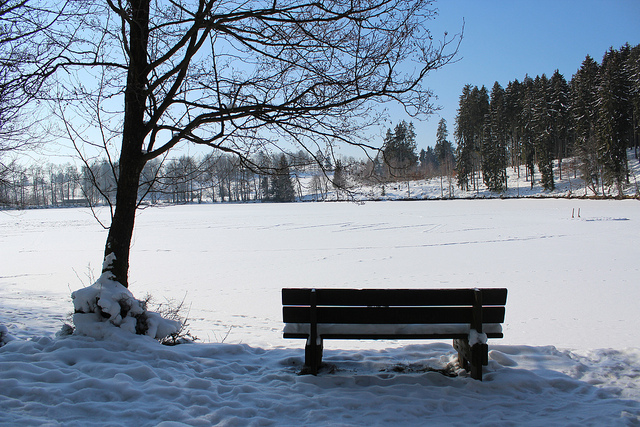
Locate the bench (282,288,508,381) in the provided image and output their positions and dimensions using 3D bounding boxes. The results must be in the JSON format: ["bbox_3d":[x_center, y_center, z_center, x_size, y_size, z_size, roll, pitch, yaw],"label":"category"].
[{"bbox_3d":[1.429,2.196,11.419,3.974,1.979,1.850,-1,9,9],"label":"bench"}]
